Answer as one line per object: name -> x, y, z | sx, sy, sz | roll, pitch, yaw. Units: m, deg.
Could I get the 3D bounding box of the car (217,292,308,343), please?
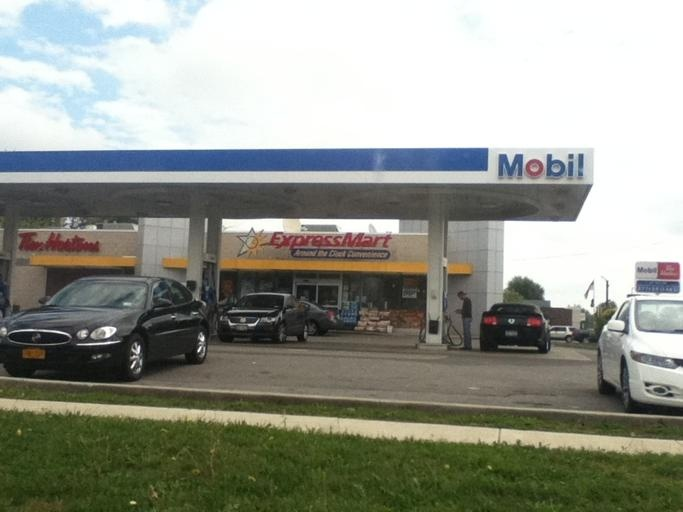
car -> -2.590, 2.099, 22.400 | 1.876, 1.639, 2.851 | 0, -2, 23

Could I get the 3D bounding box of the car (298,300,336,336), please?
car -> -1.000, 2.745, 28.737 | 1.756, 0.875, 1.006 | 4, -2, -1
